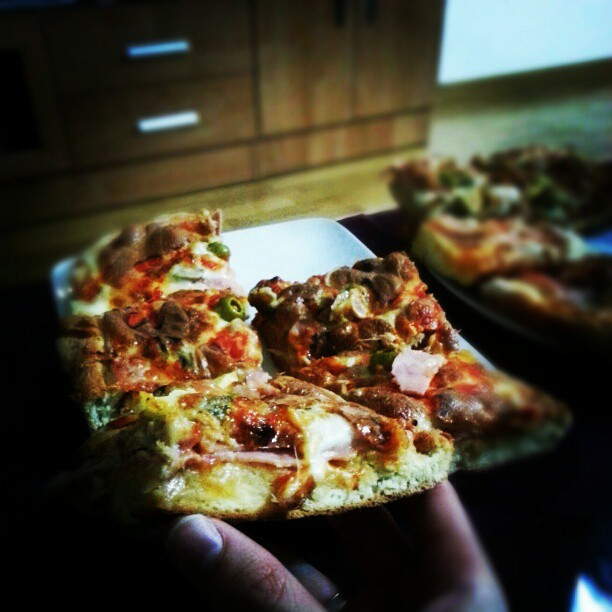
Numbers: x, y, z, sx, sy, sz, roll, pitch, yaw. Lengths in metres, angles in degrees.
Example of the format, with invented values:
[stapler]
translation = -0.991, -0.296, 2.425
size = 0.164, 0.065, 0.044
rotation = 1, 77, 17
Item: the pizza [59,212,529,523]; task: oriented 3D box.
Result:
[pizza]
translation = -0.127, 0.090, 1.786
size = 1.124, 0.167, 1.320
rotation = -8, 27, -29
